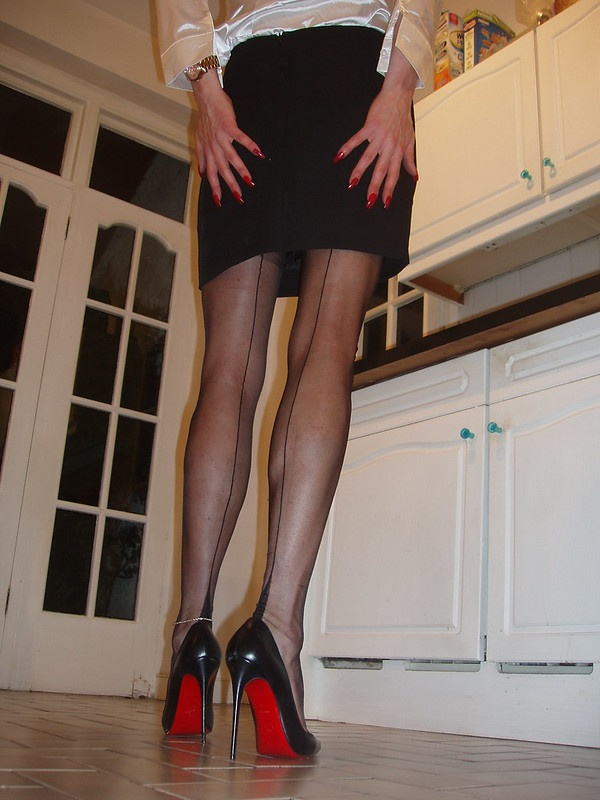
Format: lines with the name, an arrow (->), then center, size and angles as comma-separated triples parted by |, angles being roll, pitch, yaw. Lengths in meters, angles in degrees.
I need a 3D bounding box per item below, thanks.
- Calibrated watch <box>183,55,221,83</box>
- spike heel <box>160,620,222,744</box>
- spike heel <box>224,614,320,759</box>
Calibrated watch -> -0.153, -0.512, 0.994 | 0.046, 0.023, 0.038 | -34, 20, 0
spike heel -> -0.132, 0.339, 0.783 | 0.061, 0.147, 0.105 | 5, -12, -9
spike heel -> -0.022, 0.324, 0.703 | 0.063, 0.139, 0.151 | -20, -46, 31
